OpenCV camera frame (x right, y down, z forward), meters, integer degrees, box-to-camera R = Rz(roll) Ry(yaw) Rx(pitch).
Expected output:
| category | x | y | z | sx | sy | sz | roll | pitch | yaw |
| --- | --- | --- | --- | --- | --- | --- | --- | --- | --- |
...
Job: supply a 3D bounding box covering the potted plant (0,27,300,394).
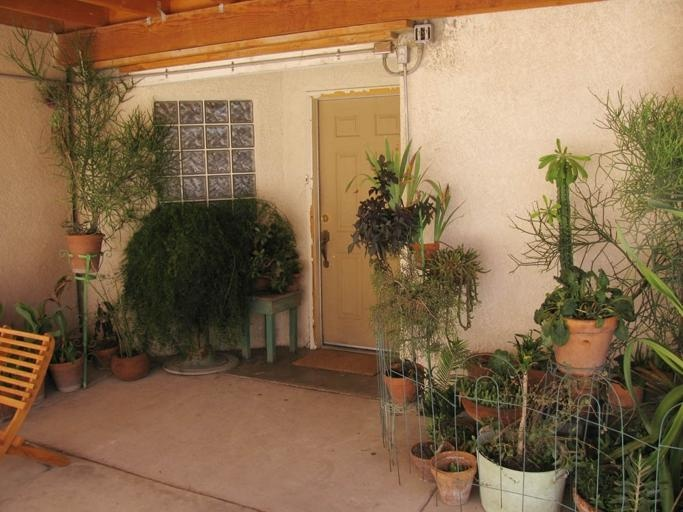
| category | x | y | z | sx | sy | sz | roll | pitch | yaw |
| --- | --- | --- | --- | --- | --- | --- | --- | --- | --- |
| potted plant | -1.880 | -0.497 | 5.356 | 3.057 | 3.528 | 1.862 | 2 | -3 | 3 |
